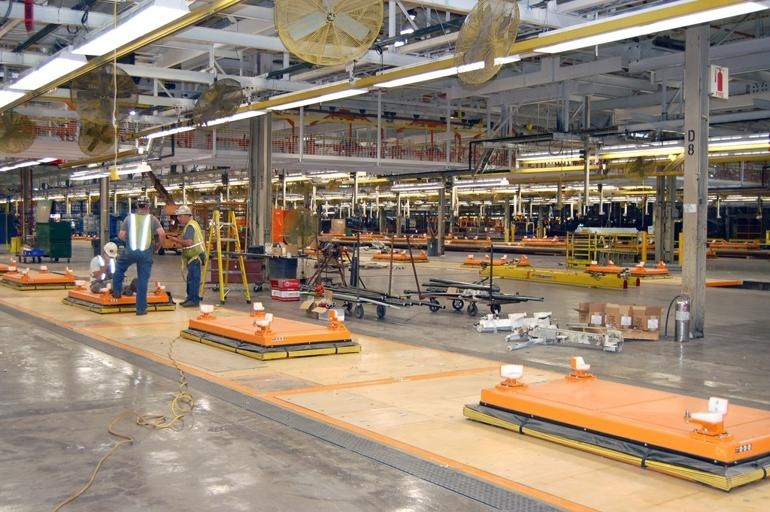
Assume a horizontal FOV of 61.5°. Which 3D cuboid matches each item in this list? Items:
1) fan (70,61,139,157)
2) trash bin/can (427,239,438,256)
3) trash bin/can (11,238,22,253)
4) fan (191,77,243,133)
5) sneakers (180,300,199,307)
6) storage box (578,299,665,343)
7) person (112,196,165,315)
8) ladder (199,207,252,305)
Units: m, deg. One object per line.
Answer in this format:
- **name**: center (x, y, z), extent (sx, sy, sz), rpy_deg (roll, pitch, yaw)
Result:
- **fan**: center (-5.017, -2.628, 11.505), extent (0.960, 1.286, 2.062), rpy_deg (-1, 2, -25)
- **trash bin/can**: center (2.358, -0.484, 33.554), extent (0.495, 0.834, 1.414), rpy_deg (0, 2, 7)
- **trash bin/can**: center (-18.424, -0.595, 32.369), extent (0.488, 0.832, 2.244), rpy_deg (-1, 2, -30)
- **fan**: center (-3.764, -3.529, 14.464), extent (0.575, 0.983, 1.264), rpy_deg (-2, 2, -43)
- **sneakers**: center (-4.229, 1.015, 13.956), extent (0.399, 0.139, 0.134), rpy_deg (4, 0, -14)
- **storage box**: center (4.145, 1.109, 11.485), extent (1.234, 0.474, 0.781), rpy_deg (5, 8, 33)
- **person**: center (-4.876, 0.020, 12.804), extent (0.864, 2.272, 1.042), rpy_deg (-1, 2, -26)
- **ladder**: center (-4.106, 0.060, 16.490), extent (1.226, 2.907, 1.469), rpy_deg (-5, 10, -41)
